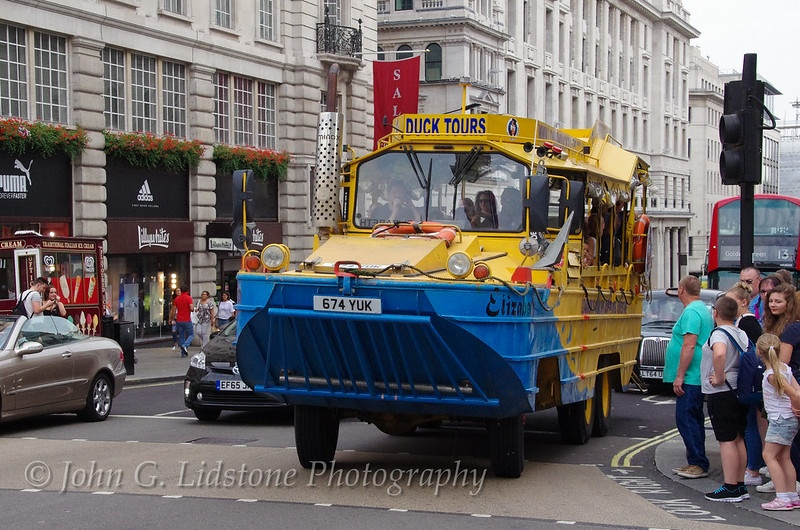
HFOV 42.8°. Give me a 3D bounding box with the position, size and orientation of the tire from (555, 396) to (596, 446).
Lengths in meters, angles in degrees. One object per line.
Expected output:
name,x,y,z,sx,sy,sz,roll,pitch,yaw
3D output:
tire,2.957,2.611,17.188,0.273,0.892,0.834,-3,-14,28

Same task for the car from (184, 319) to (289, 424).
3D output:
car,-3.312,2.098,19.084,1.251,1.340,2.616,-1,-9,6

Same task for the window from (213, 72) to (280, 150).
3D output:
window,-5.794,-5.773,37.919,0.240,2.395,3.089,2,1,30

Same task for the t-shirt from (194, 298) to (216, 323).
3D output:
t-shirt,-6.029,1.424,31.665,0.685,0.763,0.401,2,-5,7

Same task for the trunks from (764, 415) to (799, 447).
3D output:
trunks,5.117,2.188,13.728,0.324,0.466,0.468,16,1,32

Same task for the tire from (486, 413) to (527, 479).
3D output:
tire,1.540,2.638,14.835,0.282,0.993,0.924,-2,5,14

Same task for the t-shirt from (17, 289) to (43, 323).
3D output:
t-shirt,-7.476,0.846,20.724,0.249,0.480,0.451,13,0,-41

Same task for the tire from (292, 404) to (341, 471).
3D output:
tire,-1.242,2.570,15.250,0.319,1.035,0.962,0,4,17

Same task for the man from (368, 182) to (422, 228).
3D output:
man,-0.092,-0.957,15.932,0.639,0.676,0.161,4,-7,10

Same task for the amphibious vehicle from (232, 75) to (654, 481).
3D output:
amphibious vehicle,1.169,0.388,15.641,7.285,5.488,3.500,-1,3,-39

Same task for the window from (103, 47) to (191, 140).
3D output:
window,-8.486,-5.744,33.810,0.145,2.200,3.338,-2,-3,28

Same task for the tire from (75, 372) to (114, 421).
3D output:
tire,-5.887,2.526,19.603,0.230,0.749,0.709,-17,9,29
